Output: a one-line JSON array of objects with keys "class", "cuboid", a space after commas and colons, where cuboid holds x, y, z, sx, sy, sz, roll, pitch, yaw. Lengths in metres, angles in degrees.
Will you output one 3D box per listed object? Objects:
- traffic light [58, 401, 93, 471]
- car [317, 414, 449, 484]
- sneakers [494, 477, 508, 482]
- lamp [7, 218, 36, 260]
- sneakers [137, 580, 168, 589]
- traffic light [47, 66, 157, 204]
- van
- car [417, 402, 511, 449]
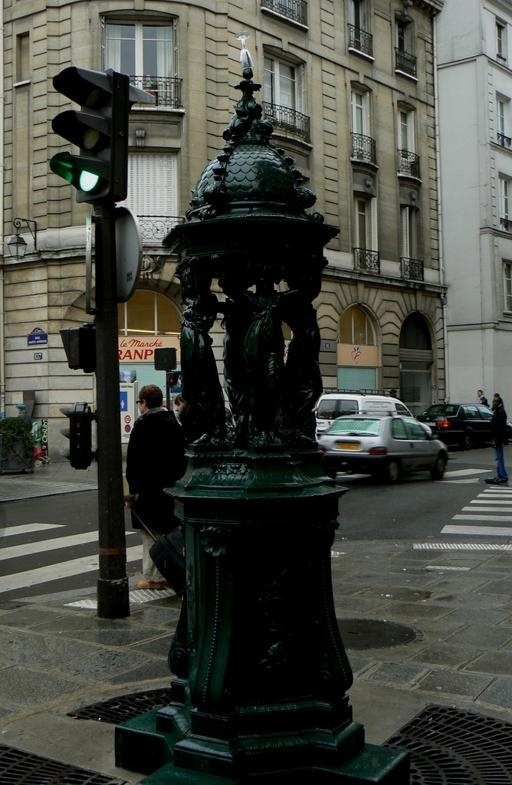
[{"class": "traffic light", "cuboid": [-1.240, 0.292, 7.511, 0.224, 0.495, 0.863, 2, -7, -10]}, {"class": "car", "cuboid": [2.224, 0.905, 18.352, 1.248, 0.950, 2.337, 1, 4, 37]}, {"class": "sneakers", "cuboid": [4.053, 1.456, 17.741, 0.227, 0.093, 0.101, 3, -7, -16]}, {"class": "lamp", "cuboid": [-5.427, -3.620, 24.793, 0.531, 0.990, 0.834, 7, -9, -42]}, {"class": "sneakers", "cuboid": [-0.786, 1.462, 8.146, 0.212, 0.109, 0.081, 5, -7, 9]}, {"class": "traffic light", "cuboid": [-1.108, -1.693, 7.007, 0.564, 0.800, 0.481, 5, -8, -35]}, {"class": "van", "cuboid": [2.232, 0.258, 22.836, 1.106, 1.048, 1.948, 4, 8, 42]}, {"class": "car", "cuboid": [5.641, 0.874, 29.960, 1.308, 1.020, 2.971, 2, 6, 44]}]
